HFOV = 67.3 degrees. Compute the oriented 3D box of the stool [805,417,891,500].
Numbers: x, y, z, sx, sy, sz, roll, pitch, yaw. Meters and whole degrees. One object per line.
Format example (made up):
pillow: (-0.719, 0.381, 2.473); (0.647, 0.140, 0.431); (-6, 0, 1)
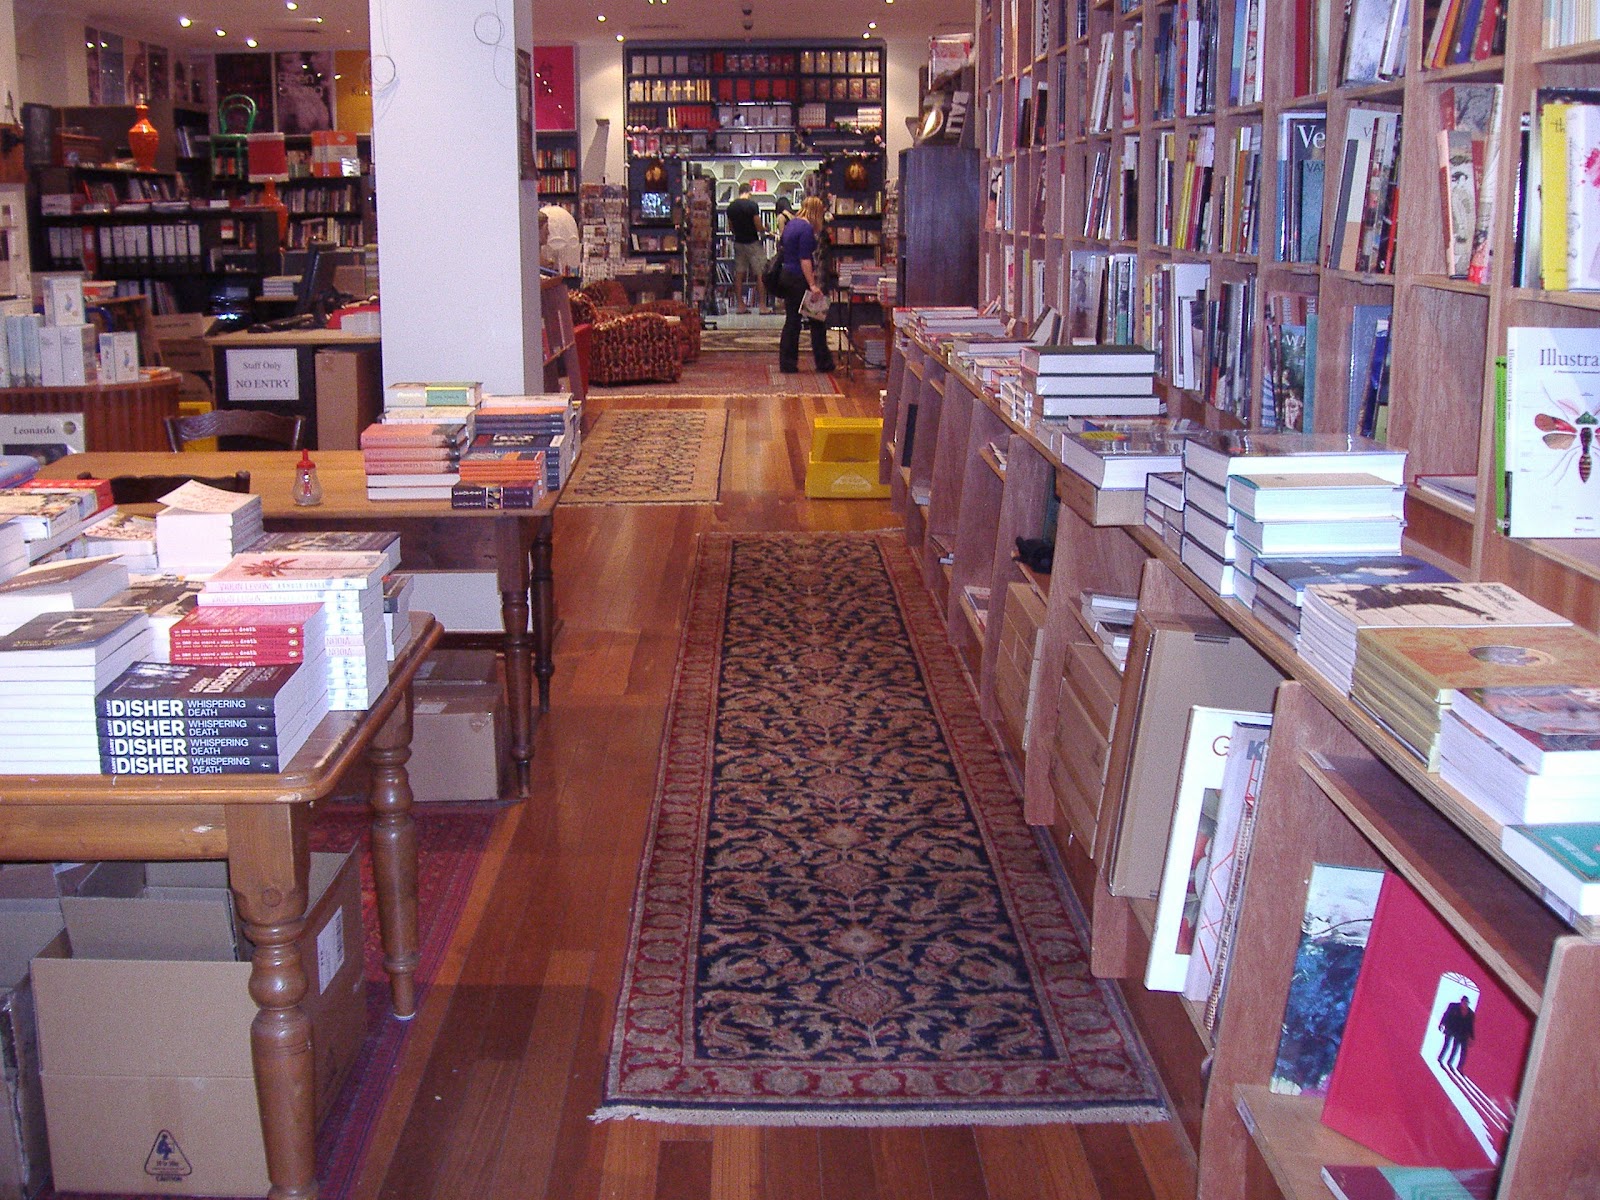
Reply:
stool: (0.317, -1.019, 8.414); (0.578, 0.510, 0.506); (0, 17, -2)
